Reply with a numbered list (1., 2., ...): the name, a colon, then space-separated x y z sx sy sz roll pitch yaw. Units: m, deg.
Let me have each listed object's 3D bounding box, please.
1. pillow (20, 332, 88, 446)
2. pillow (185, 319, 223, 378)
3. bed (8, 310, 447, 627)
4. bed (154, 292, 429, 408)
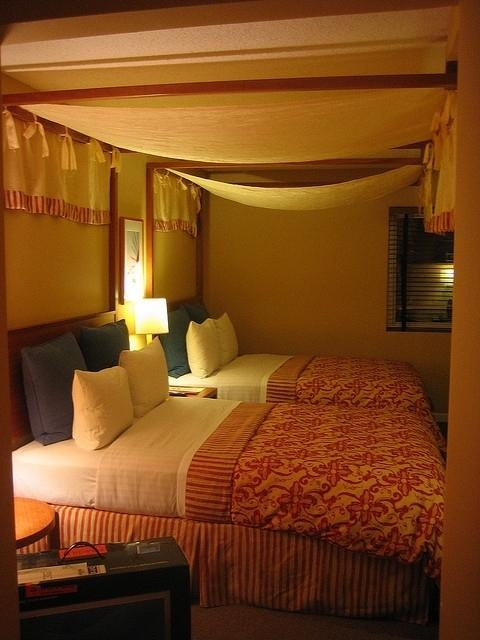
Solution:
1. pillow: -0.991 0.383 2.794 0.190 0.383 0.554 2 8 7
2. pillow: -0.335 0.269 4.776 0.158 0.332 0.487 2 6 11
3. bed: 0.040 0.810 2.571 1.630 0.393 1.650 2 10 9
4. bed: 0.383 0.365 4.589 1.457 0.772 1.136 0 9 7
